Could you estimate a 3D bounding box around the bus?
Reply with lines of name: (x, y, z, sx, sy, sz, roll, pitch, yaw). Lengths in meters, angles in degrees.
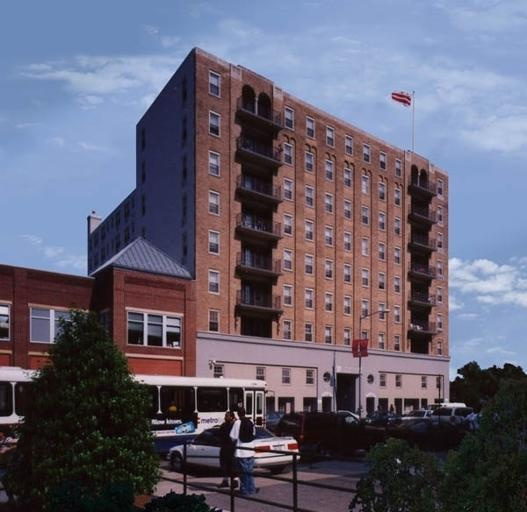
bus: (-3.237, 4.212, 27.551, 8.733, 2.776, 2.521, 10, -16, -41)
